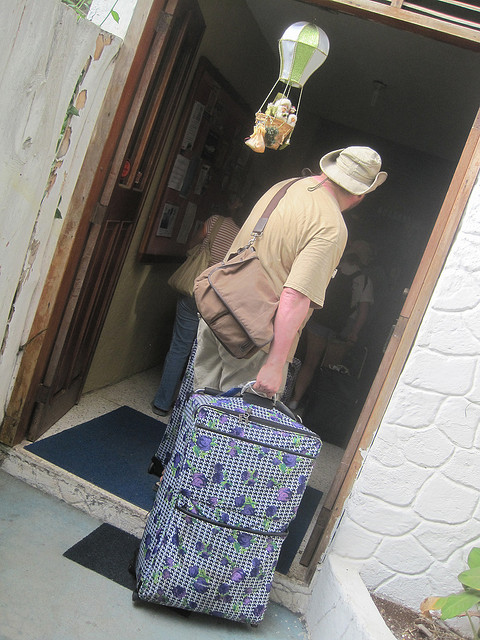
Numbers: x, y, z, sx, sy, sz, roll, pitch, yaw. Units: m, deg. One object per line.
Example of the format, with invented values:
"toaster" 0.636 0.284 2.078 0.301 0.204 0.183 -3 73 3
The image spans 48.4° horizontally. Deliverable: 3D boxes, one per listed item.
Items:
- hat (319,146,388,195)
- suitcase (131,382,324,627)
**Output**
"hat" 0.484 -0.581 2.069 0.289 0.121 0.221 11 6 -44
"suitcase" -0.074 0.685 2.053 0.617 0.805 0.498 15 0 -20
